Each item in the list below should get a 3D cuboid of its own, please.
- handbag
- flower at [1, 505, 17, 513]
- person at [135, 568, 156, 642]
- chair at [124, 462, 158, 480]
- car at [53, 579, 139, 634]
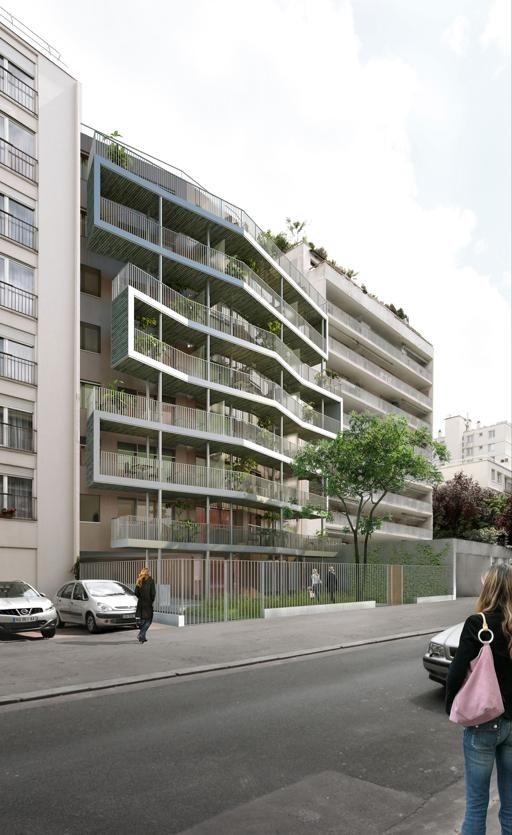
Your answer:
[{"bbox_3d":[1.128,1.314,4.236,0.213,0.549,0.182,2,-7,-15],"label":"handbag"},{"bbox_3d":[-6.869,2.605,22.731,0.378,0.192,0.283,4,-9,-25],"label":"flower"},{"bbox_3d":[-2.123,3.577,15.544,0.335,1.359,1.305,1,-8,-8],"label":"person"},{"bbox_3d":[-3.749,1.739,26.669,0.248,0.545,1.448,-4,-10,35],"label":"chair"},{"bbox_3d":[-3.536,4.280,18.564,1.191,1.077,2.511,5,-10,-30],"label":"car"}]
